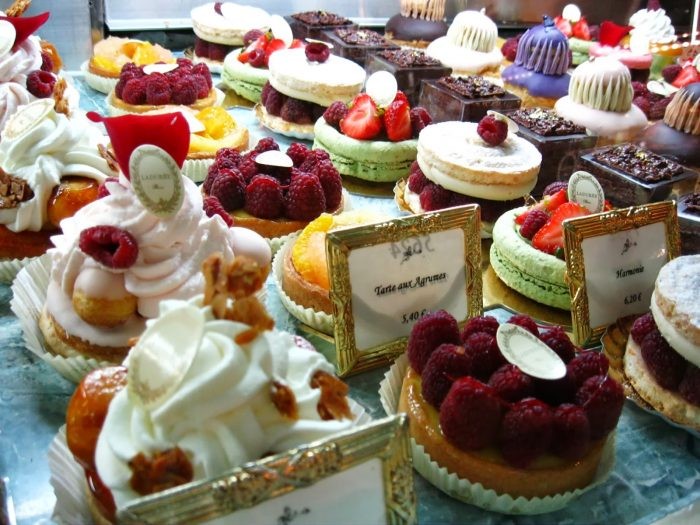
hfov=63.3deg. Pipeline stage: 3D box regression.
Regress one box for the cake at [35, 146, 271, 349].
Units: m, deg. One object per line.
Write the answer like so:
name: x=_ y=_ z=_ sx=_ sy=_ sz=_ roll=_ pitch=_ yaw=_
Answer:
cake: x=-0.673 y=-0.112 z=1.961 sx=0.623 sy=0.560 sz=0.633 roll=-2 pitch=34 yaw=-14

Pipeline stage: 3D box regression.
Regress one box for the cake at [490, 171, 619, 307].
cake: x=0.805 y=-0.134 z=2.218 sx=0.516 sy=0.172 sz=0.480 roll=-45 pitch=47 yaw=-17

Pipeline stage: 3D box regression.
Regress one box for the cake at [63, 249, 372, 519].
cake: x=-0.303 y=0.299 z=1.472 sx=0.607 sy=0.548 sz=0.626 roll=-7 pitch=15 yaw=21
